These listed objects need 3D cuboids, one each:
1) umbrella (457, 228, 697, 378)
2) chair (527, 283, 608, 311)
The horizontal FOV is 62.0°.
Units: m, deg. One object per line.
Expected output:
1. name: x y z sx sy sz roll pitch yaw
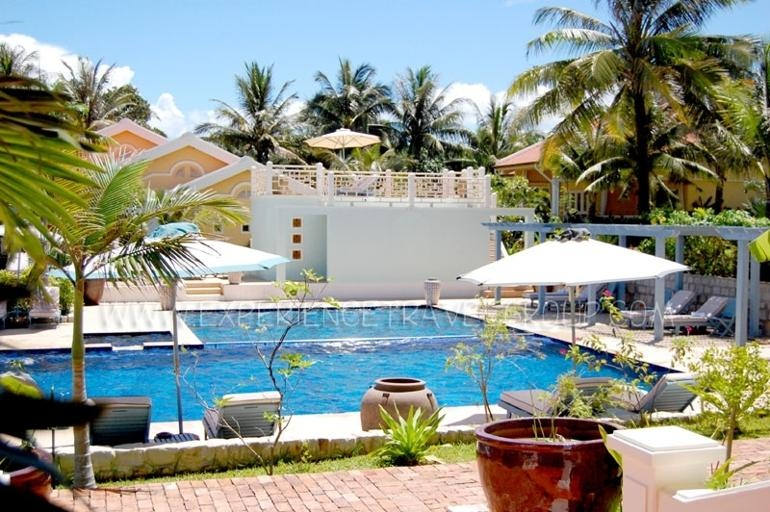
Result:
1. umbrella: 2.684 0.556 9.711 2.282 1.752 2.374 -1 -3 2
2. chair: 6.018 1.462 21.762 1.907 1.243 1.141 2 1 1
